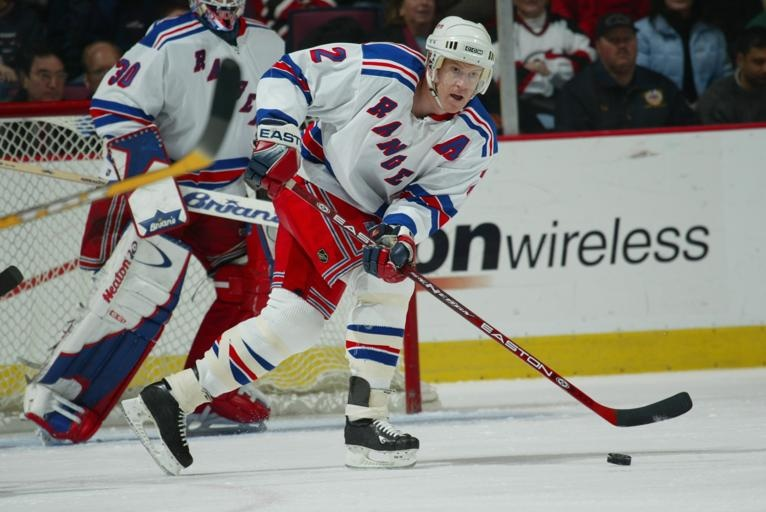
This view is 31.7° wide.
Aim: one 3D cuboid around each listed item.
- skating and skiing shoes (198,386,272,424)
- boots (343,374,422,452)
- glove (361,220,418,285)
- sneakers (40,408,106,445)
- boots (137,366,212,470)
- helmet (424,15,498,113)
[{"bbox_3d":[-0.764,0.757,6.844,0.449,0.197,0.151,-3,-9,30],"label":"skating and skiing shoes"},{"bbox_3d":[-0.006,0.727,6.071,0.433,0.381,0.151,2,-1,44],"label":"boots"},{"bbox_3d":[0.026,-0.020,6.021,0.228,0.250,0.188,0,12,13],"label":"glove"},{"bbox_3d":[-1.523,0.822,6.578,0.293,0.215,0.142,-1,12,-4],"label":"sneakers"},{"bbox_3d":[-0.941,0.734,6.053,0.360,0.460,0.145,-5,12,-10],"label":"boots"},{"bbox_3d":[0.375,-0.871,6.017,0.314,0.409,0.378,11,5,-23],"label":"helmet"}]
